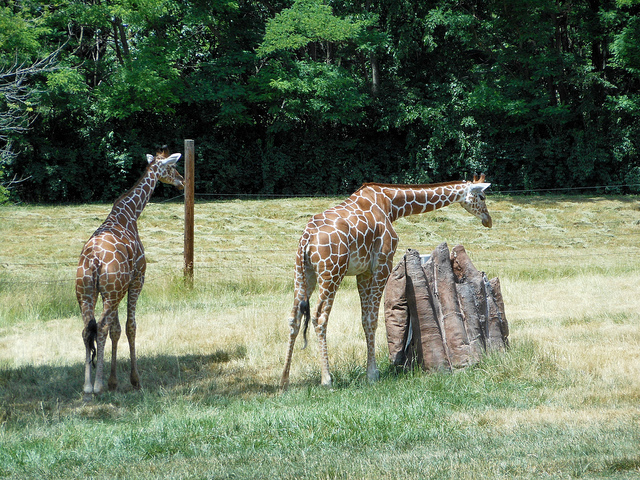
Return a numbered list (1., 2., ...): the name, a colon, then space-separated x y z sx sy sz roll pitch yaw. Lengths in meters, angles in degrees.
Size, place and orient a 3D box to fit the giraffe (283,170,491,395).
1. giraffe: 2.001 0.884 29.230 5.985 5.915 1.862 0 0 -25
